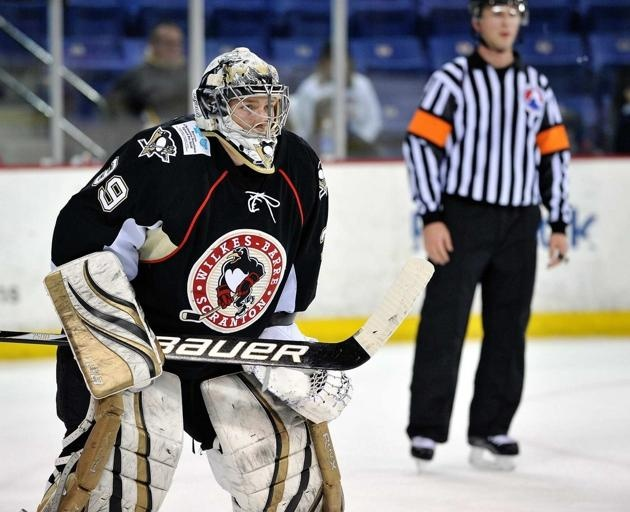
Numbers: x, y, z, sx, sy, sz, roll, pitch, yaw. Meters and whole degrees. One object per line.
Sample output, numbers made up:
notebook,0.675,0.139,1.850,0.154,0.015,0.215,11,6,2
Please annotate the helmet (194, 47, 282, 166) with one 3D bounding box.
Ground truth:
helmet,-0.220,-0.436,3.017,0.269,0.336,0.331,-2,14,-39

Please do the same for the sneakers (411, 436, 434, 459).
sneakers,0.416,0.745,4.040,0.093,0.079,0.153,1,11,6

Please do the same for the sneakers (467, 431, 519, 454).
sneakers,0.700,0.724,4.060,0.153,0.064,0.075,-3,0,33
